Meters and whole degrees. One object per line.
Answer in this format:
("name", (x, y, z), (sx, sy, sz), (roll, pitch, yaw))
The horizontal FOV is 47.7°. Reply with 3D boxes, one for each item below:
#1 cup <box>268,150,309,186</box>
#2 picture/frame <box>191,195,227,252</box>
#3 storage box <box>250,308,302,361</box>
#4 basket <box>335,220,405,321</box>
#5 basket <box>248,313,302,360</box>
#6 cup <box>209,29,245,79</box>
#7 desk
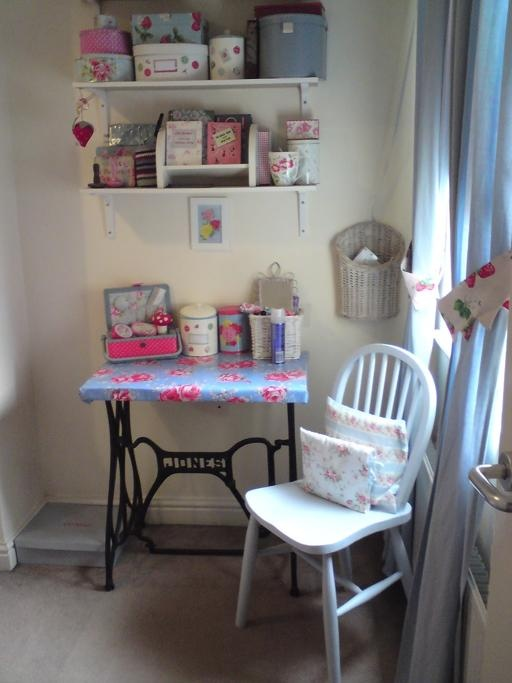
("cup", (0.108, -0.582, 1.934), (0.117, 0.103, 0.100), (-4, 28, 10))
("picture/frame", (-0.178, -0.462, 2.203), (0.176, 0.261, 0.020), (2, 23, 8))
("storage box", (0.071, -0.019, 2.024), (0.172, 0.148, 0.148), (-1, 5, 3))
("basket", (0.407, -0.258, 2.127), (0.266, 0.367, 0.168), (0, 12, 9))
("basket", (0.063, -0.023, 2.063), (0.171, 0.148, 0.147), (-1, 6, 2))
("cup", (-0.091, -0.933, 1.887), (0.129, 0.162, 0.138), (0, 23, 0))
("desk", (-0.217, 0.480, 2.125), (0.683, 0.724, 0.528), (1, 4, -4))
